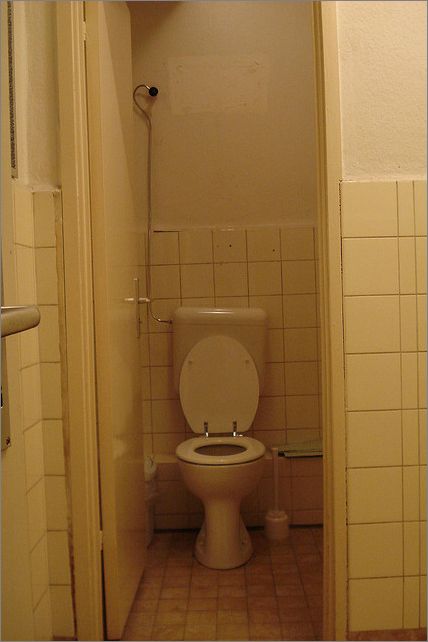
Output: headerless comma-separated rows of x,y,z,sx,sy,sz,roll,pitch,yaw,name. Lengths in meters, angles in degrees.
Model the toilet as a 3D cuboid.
0.053,0.396,2.358,0.396,0.903,0.574,-6,6,-1,toilet
